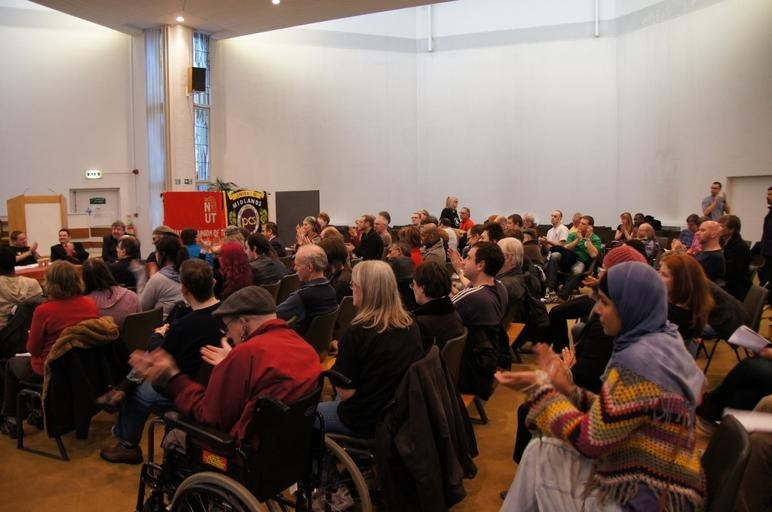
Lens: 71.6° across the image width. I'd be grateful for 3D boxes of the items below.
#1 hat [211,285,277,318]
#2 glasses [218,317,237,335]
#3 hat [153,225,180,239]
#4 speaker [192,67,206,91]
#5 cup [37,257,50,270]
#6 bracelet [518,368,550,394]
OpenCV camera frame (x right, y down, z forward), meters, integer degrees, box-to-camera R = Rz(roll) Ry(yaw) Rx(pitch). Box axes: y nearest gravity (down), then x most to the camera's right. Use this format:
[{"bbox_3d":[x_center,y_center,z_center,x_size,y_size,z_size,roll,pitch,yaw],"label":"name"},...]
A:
[{"bbox_3d":[-0.877,0.292,3.402,0.274,0.154,0.204,4,-6,1],"label":"hat"},{"bbox_3d":[-1.065,0.464,3.576,0.171,0.056,0.173,7,-3,-4],"label":"glasses"},{"bbox_3d":[-3.105,-0.349,7.567,0.409,0.165,0.387,3,2,37],"label":"hat"},{"bbox_3d":[-4.758,-4.427,13.467,0.332,0.556,0.186,-6,8,-35],"label":"speaker"},{"bbox_3d":[-4.868,0.098,7.562,0.158,0.156,0.154,-1,1,0],"label":"cup"},{"bbox_3d":[0.873,0.716,3.102,0.106,0.062,0.138,-5,0,-39],"label":"bracelet"}]
